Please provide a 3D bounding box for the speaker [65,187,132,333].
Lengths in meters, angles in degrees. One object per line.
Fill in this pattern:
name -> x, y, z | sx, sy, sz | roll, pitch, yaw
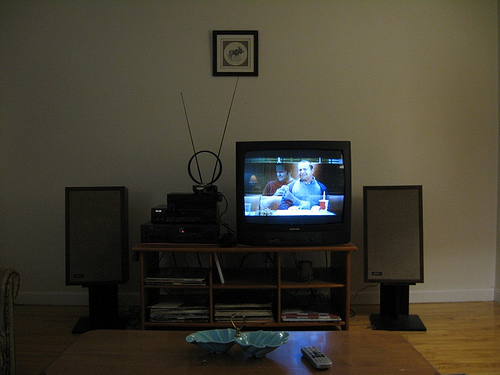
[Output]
speaker -> -1.206, 0.545, 4.033 | 0.478, 1.097, 0.346 | 0, 3, 3

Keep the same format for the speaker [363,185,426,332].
speaker -> 1.154, 0.551, 4.019 | 0.476, 1.131, 0.325 | 0, -1, 11

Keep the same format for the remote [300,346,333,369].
remote -> 0.360, 0.931, 2.755 | 0.103, 0.082, 0.194 | 2, -3, -42
